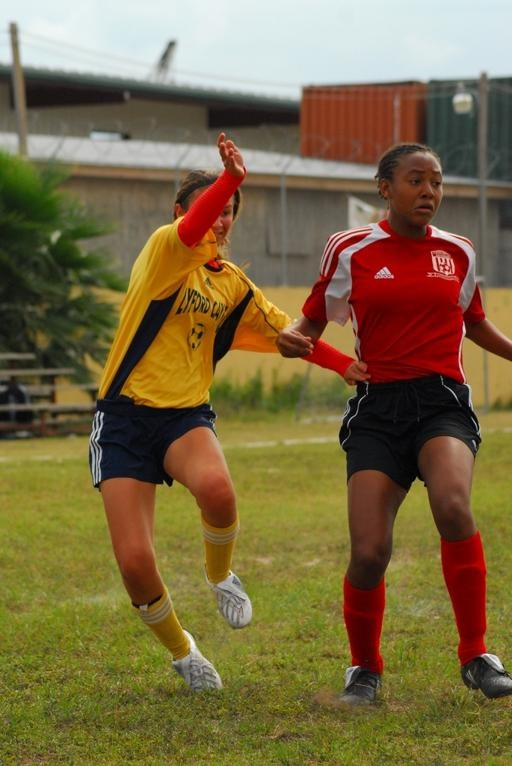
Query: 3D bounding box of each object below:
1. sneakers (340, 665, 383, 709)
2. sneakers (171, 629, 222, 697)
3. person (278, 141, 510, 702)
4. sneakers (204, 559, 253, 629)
[{"bbox_3d":[0.331,0.970,3.105,0.118,0.098,0.133,-2,6,4],"label":"sneakers"},{"bbox_3d":[-0.193,0.966,3.320,0.093,0.247,0.101,-42,-11,5],"label":"sneakers"},{"bbox_3d":[0.516,0.105,3.178,0.603,1.778,0.678,-3,7,-4],"label":"person"},{"bbox_3d":[-0.100,0.793,3.656,0.132,0.112,0.278,-20,40,-12],"label":"sneakers"}]
